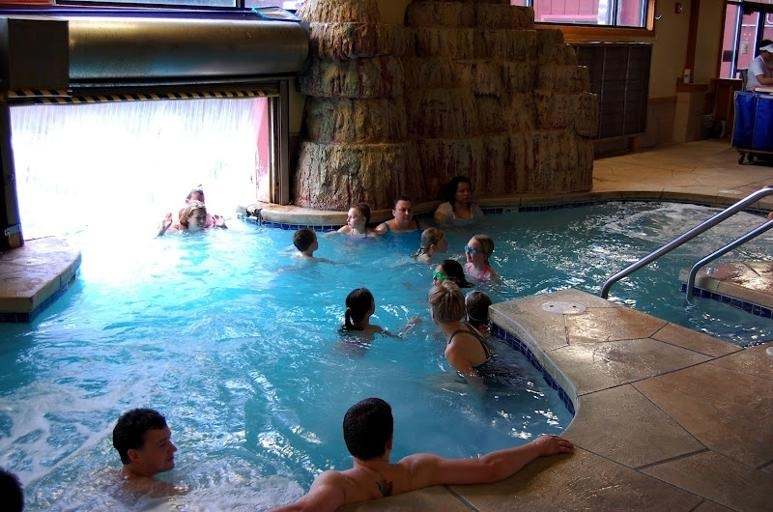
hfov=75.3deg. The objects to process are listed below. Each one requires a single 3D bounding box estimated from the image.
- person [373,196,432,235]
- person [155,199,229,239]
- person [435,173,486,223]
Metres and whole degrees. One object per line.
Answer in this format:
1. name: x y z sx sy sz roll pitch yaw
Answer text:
1. person: 0.218 -0.583 7.293 0.932 0.501 0.477 -8 6 -28
2. person: -2.853 -0.572 7.383 1.110 0.422 0.693 -6 14 -34
3. person: 1.120 -0.849 7.961 0.935 0.749 0.487 -3 3 -24
